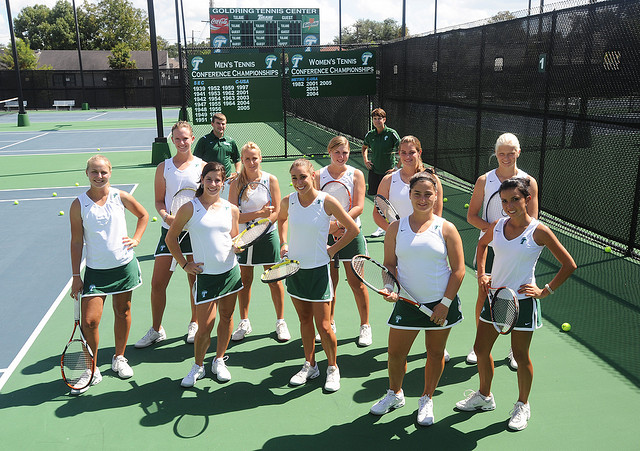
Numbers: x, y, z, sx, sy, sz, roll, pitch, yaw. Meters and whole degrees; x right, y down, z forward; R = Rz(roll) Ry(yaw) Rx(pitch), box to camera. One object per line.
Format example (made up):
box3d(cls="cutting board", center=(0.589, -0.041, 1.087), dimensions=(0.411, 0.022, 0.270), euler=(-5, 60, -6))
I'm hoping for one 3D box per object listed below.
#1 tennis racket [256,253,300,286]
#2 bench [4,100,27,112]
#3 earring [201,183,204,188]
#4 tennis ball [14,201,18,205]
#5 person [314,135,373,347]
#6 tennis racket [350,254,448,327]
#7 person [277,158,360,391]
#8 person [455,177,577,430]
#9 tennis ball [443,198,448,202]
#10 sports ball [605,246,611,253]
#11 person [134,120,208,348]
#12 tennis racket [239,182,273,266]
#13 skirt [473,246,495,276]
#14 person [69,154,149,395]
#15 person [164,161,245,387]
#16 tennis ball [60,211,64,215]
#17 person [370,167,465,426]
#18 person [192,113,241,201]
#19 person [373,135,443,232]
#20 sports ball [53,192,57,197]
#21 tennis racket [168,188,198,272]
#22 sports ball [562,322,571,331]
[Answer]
box3d(cls="tennis racket", center=(-0.508, 0.548, 6.094), dimensions=(0.397, 0.163, 0.726), euler=(-11, 17, 28))
box3d(cls="bench", center=(-29.949, -11.909, 47.613), dimensions=(1.858, 0.999, 4.387), euler=(-11, 22, -32))
box3d(cls="earring", center=(-1.387, -0.462, 5.730), dimensions=(0.050, 0.045, 0.008), euler=(11, 18, 31))
box3d(cls="tennis ball", center=(-8.370, -0.611, 13.355), dimensions=(0.076, 0.079, 0.074), euler=(4, 10, -1))
box3d(cls="person", center=(0.388, 0.224, 6.893), dimensions=(0.794, 2.787, 1.034), euler=(-1, 5, -18))
box3d(cls="tennis racket", center=(0.724, 0.637, 5.025), dimensions=(0.803, 0.604, 0.571), euler=(11, 20, 30))
box3d(cls="person", center=(0.001, 0.632, 6.217), dimensions=(0.877, 2.927, 1.074), euler=(0, 4, 1))
box3d(cls="person", center=(2.097, 0.887, 5.307), dimensions=(1.069, 2.879, 0.730), euler=(8, 15, 40))
box3d(cls="tennis ball", center=(3.444, -0.683, 13.238), dimensions=(0.083, 0.055, 0.094), euler=(1, 24, 9))
box3d(cls="sports ball", center=(5.690, 0.501, 9.582), dimensions=(0.093, 0.092, 0.093), euler=(-44, -9, -9))
box3d(cls="person", center=(-1.961, 0.176, 6.855), dimensions=(1.275, 3.288, 1.024), euler=(-7, 15, -42))
box3d(cls="tennis racket", center=(-0.849, -0.072, 6.719), dimensions=(0.149, 0.962, 0.495), euler=(6, -7, -33))
box3d(cls="skirt", center=(2.143, 0.462, 6.137), dimensions=(0.083, 0.378, 0.369), euler=(6, 3, -3))
box3d(cls="person", center=(-2.766, 0.504, 6.349), dimensions=(0.964, 2.945, 1.027), euler=(-3, 6, -31))
box3d(cls="person", center=(-1.374, 0.629, 5.936), dimensions=(0.888, 2.658, 0.838), euler=(-3, 4, -26))
box3d(cls="tennis ball", center=(-6.591, -0.313, 12.382), dimensions=(0.095, 0.097, 0.091), euler=(-6, 24, 3))
box3d(cls="person", center=(1.039, 0.839, 5.205), dimensions=(0.956, 2.823, 0.998), euler=(2, 9, 16))
box3d(cls="person", center=(-1.729, -1.324, 8.501), dimensions=(0.869, 2.137, 1.036), euler=(-1, 12, -18))
box3d(cls="person", center=(1.148, -0.057, 6.597), dimensions=(0.883, 2.266, 0.747), euler=(2, 0, -12))
box3d(cls="sports ball", center=(-7.722, -0.892, 14.098), dimensions=(0.070, 0.080, 0.109), euler=(-2, 56, 1))
box3d(cls="tennis racket", center=(-1.878, 0.081, 6.636), dimensions=(0.552, 1.175, 0.174), euler=(5, 4, 16))
box3d(cls="sports ball", center=(3.617, 1.496, 7.068), dimensions=(0.104, 0.118, 0.099), euler=(-43, 10, 9))
